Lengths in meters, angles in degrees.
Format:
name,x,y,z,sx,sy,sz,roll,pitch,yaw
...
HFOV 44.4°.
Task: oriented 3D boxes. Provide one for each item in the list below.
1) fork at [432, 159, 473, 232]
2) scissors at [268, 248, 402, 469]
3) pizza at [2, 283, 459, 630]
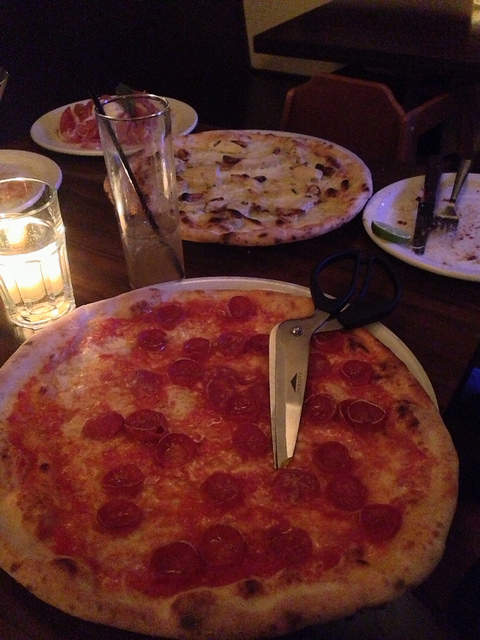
name,x,y,z,sx,sy,sz,roll,pitch,yaw
fork,0.451,-0.254,1.220,0.055,0.031,0.374,14,36,20
scissors,0.135,0.037,0.884,0.153,0.030,0.387,13,41,23
pizza,-0.020,0.137,0.747,0.514,0.135,0.515,-10,37,-9
